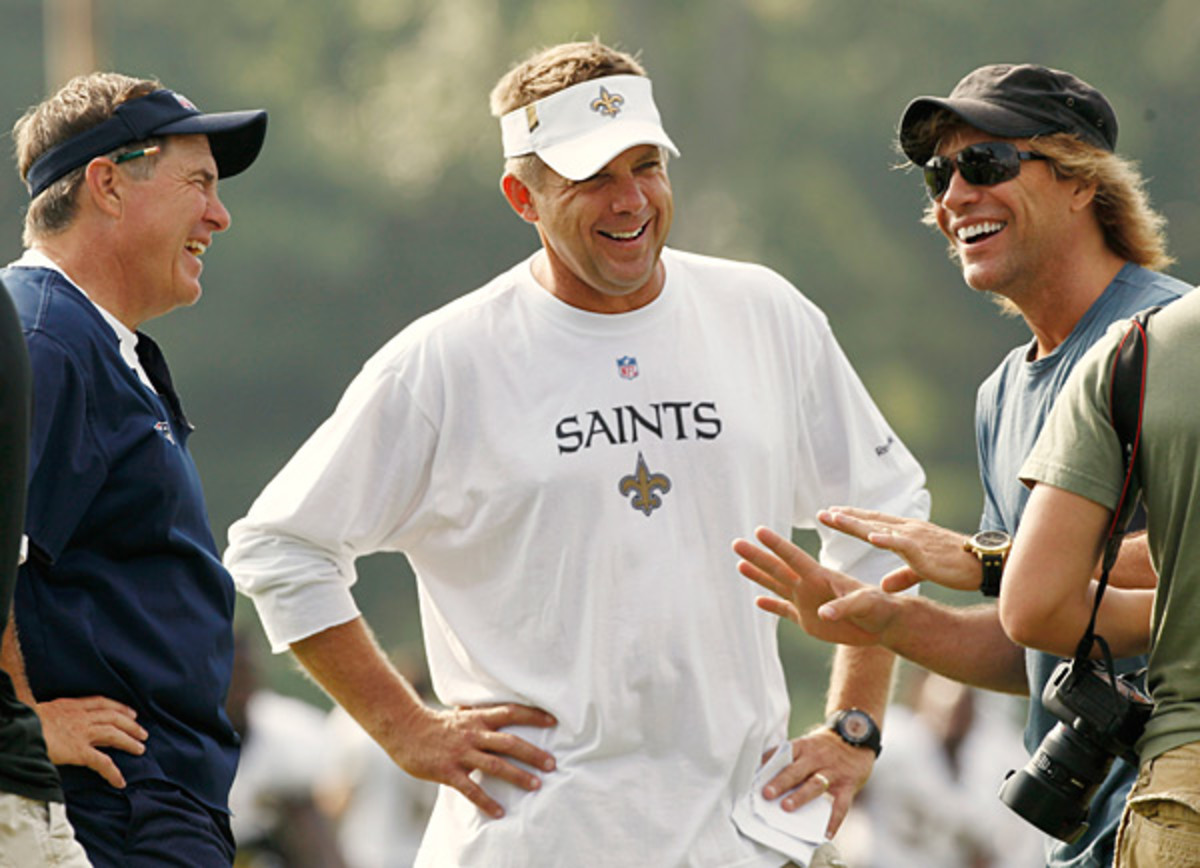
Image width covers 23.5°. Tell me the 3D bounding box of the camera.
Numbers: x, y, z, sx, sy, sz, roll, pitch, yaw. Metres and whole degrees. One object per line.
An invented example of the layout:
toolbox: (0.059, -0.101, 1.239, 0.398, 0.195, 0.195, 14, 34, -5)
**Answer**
camera: (1.711, 1.138, 10.588, 0.424, 0.708, 0.386, 36, 20, 16)

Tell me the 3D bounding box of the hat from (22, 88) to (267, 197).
hat: (-1.706, -1.133, 11.037, 0.736, 0.249, 0.459, -22, -2, -5)

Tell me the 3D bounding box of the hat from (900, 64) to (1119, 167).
hat: (1.597, -1.254, 11.277, 0.585, 0.256, 0.429, 9, -11, -15)
